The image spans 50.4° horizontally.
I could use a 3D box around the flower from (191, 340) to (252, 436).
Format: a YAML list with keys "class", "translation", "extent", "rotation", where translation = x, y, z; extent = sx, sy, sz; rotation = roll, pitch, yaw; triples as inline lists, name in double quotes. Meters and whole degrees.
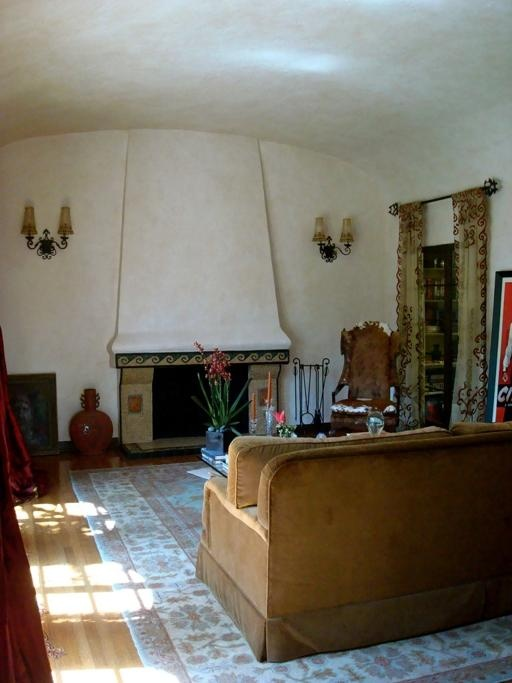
- class: "flower"
  translation: [-0.318, 0.417, 4.113]
  extent: [0.396, 0.773, 0.565]
  rotation: [-6, 2, -16]

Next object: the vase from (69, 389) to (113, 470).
- class: "vase"
  translation: [-1.734, 0.834, 5.745]
  extent: [0.436, 0.690, 0.420]
  rotation: [-7, 15, -38]

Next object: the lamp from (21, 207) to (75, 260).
- class: "lamp"
  translation: [-2.169, -1.115, 5.591]
  extent: [0.569, 0.585, 0.186]
  rotation: [0, 7, -9]

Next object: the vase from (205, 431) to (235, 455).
- class: "vase"
  translation: [-0.251, 0.713, 3.941]
  extent: [0.206, 0.193, 0.199]
  rotation: [0, -1, 4]

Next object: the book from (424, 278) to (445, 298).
- class: "book"
  translation: [2.130, -0.609, 6.561]
  extent: [0.203, 0.265, 0.275]
  rotation: [1, -5, -5]

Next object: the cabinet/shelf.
- class: "cabinet/shelf"
  translation: [2.165, -0.234, 6.369]
  extent: [0.369, 1.852, 0.476]
  rotation: [-2, 0, 17]

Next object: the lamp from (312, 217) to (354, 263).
- class: "lamp"
  translation: [0.956, -1.245, 6.622]
  extent: [0.598, 0.532, 0.355]
  rotation: [-2, 0, -8]
